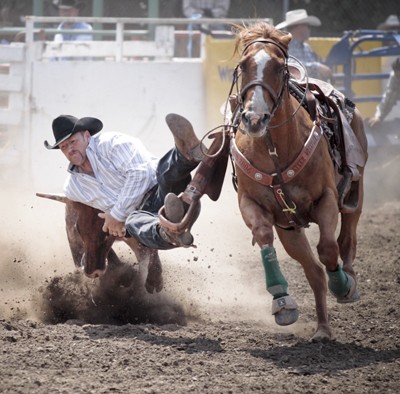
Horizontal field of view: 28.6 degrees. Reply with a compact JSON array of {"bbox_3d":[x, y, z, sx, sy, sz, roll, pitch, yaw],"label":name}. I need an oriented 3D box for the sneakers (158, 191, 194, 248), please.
[{"bbox_3d":[-0.228,0.200,6.261,0.195,0.483,0.205,-24,10,-35],"label":"sneakers"}]

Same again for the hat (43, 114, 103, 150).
[{"bbox_3d":[-1.086,-0.609,6.956,0.330,0.159,0.420,-28,-6,29],"label":"hat"}]

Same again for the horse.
[{"bbox_3d":[0.772,-0.112,6.140,0.878,2.411,1.598,9,15,34],"label":"horse"}]
